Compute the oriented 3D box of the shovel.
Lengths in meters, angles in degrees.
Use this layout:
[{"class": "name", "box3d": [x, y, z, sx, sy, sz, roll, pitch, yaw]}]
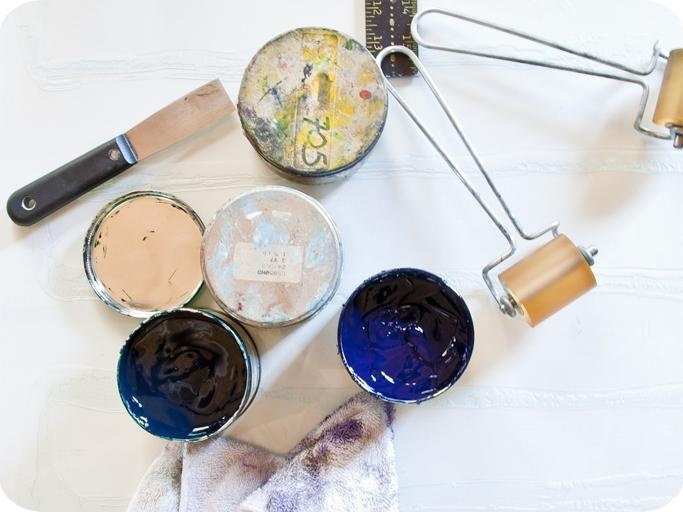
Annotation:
[{"class": "shovel", "box3d": [-0.545, -0.257, 1.695, 0.544, 0.066, 0.121, -37, 81, 4]}]
